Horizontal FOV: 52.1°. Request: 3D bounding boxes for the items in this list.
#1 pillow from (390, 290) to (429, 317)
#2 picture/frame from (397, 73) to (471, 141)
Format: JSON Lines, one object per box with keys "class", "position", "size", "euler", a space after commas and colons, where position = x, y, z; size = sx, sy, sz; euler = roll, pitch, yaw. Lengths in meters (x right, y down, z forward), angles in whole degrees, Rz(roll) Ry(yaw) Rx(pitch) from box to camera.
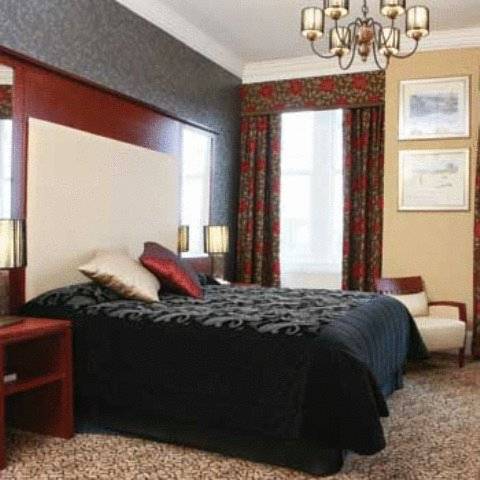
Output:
{"class": "pillow", "position": [1.545, 0.587, 4.484], "size": [0.322, 0.228, 0.104], "euler": [4, -36, 12]}
{"class": "picture/frame", "position": [2.112, -1.427, 5.267], "size": [0.875, 0.729, 0.083], "euler": [1, -2, 25]}
